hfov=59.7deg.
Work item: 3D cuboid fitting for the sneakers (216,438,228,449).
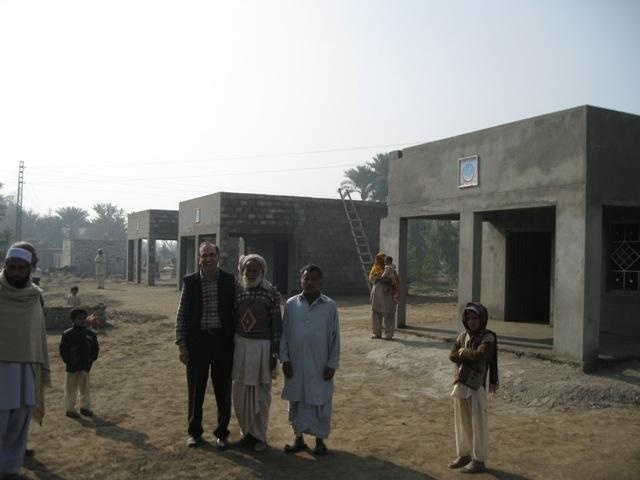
[{"bbox_3d":[-1.116,2.336,6.364,0.059,0.080,0.192,5,-22,-1],"label":"sneakers"}]

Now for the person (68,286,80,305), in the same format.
[{"bbox_3d":[-6.481,1.483,14.698,0.279,0.522,0.837,-2,6,-24],"label":"person"}]

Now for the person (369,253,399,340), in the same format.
[{"bbox_3d":[1.335,1.192,11.738,0.592,1.772,0.565,1,5,5],"label":"person"}]

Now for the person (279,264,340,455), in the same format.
[{"bbox_3d":[-0.120,1.370,6.428,0.676,2.147,0.443,0,5,1],"label":"person"}]

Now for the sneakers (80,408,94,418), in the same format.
[{"bbox_3d":[-3.086,2.295,7.422,0.161,0.176,0.089,0,1,-9],"label":"sneakers"}]

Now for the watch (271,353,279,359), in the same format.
[{"bbox_3d":[-0.500,1.307,6.285,0.053,0.045,0.057,0,-7,6],"label":"watch"}]

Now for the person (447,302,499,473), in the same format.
[{"bbox_3d":[1.703,1.627,6.226,0.492,1.838,0.547,2,6,15],"label":"person"}]

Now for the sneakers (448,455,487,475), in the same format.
[{"bbox_3d":[1.614,2.452,6.130,0.275,0.132,0.178,4,-8,17],"label":"sneakers"}]

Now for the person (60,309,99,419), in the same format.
[{"bbox_3d":[-3.201,1.629,7.448,0.464,1.396,0.471,-3,6,-27],"label":"person"}]

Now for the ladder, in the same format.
[{"bbox_3d":[1.450,0.017,21.761,1.229,4.024,2.291,1,5,5],"label":"ladder"}]

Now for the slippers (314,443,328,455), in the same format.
[{"bbox_3d":[0.004,2.391,6.388,0.160,0.156,0.121,0,5,-3],"label":"slippers"}]

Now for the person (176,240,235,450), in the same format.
[{"bbox_3d":[-1.312,1.221,6.517,0.671,2.384,0.434,2,6,16],"label":"person"}]

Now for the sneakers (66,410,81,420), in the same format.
[{"bbox_3d":[-3.223,2.286,7.293,0.154,0.119,0.089,1,3,-13],"label":"sneakers"}]

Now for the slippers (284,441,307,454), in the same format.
[{"bbox_3d":[-0.279,2.390,6.410,0.236,0.182,0.107,6,-9,-11],"label":"slippers"}]

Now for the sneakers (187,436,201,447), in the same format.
[{"bbox_3d":[-1.461,2.370,6.502,0.074,0.100,0.228,6,-30,8],"label":"sneakers"}]

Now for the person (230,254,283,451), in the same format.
[{"bbox_3d":[-0.727,1.322,6.457,0.582,2.257,0.430,0,5,-7],"label":"person"}]
